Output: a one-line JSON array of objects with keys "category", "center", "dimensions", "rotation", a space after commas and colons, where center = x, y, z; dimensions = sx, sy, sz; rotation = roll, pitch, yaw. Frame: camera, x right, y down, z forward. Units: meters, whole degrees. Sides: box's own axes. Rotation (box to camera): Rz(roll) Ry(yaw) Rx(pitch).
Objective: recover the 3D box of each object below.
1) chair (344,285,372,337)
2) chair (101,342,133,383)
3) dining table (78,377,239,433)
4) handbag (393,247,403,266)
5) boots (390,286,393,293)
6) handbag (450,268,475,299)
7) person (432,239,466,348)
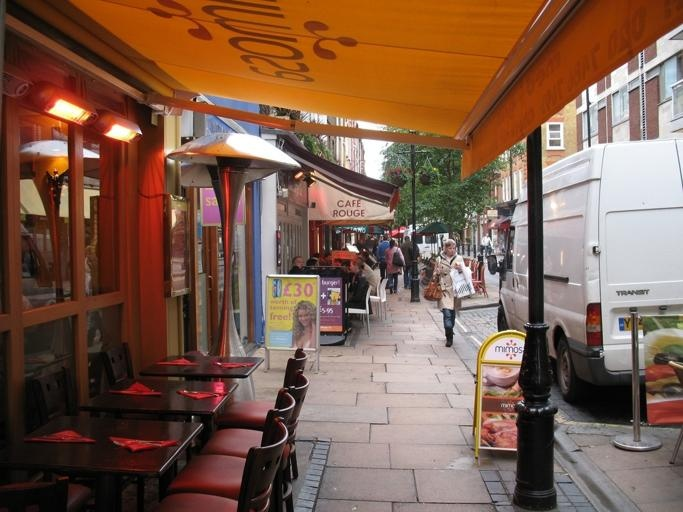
[{"category": "chair", "center": [0.548, 1.314, 13.134], "dimensions": [0.873, 1.618, 0.881], "rotation": [2, 0, 4]}, {"category": "chair", "center": [-2.358, 1.144, 5.644], "dimensions": [0.217, 0.364, 0.489], "rotation": [-1, 2, -9]}, {"category": "dining table", "center": [-1.543, 1.265, 4.756], "dimensions": [0.896, 0.229, 0.634], "rotation": [1, 2, 14]}, {"category": "handbag", "center": [2.216, 0.049, 21.084], "dimensions": [0.339, 0.722, 0.467], "rotation": [0, 2, 5]}, {"category": "boots", "center": [2.091, 1.453, 22.306], "dimensions": [0.143, 0.271, 0.145], "rotation": [2, -5, -21]}, {"category": "handbag", "center": [2.520, 0.581, 11.172], "dimensions": [0.458, 0.633, 0.566], "rotation": [-9, 0, -29]}, {"category": "person", "center": [2.288, 0.782, 11.396], "dimensions": [0.651, 2.234, 0.948], "rotation": [0, 2, 10]}]
